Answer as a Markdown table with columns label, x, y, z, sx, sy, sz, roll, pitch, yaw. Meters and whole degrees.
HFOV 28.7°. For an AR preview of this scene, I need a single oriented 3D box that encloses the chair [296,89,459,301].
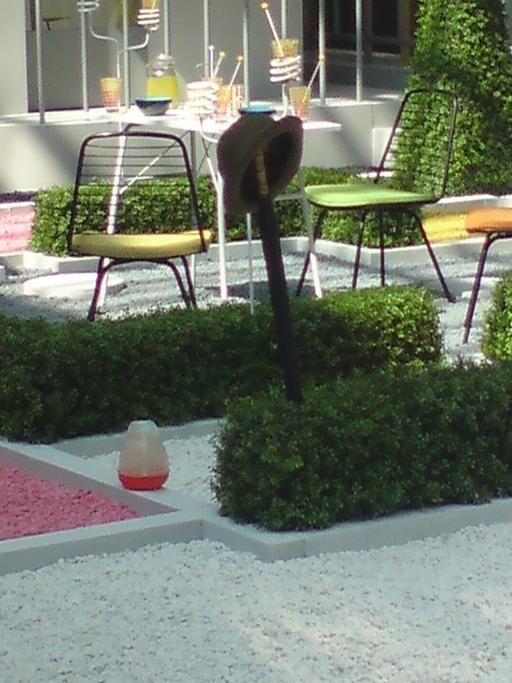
| label | x | y | z | sx | sy | sz | roll | pitch | yaw |
| --- | --- | --- | --- | --- | --- | --- | --- | --- | --- |
| chair | 0.705 | -0.824 | 5.766 | 0.830 | 1.230 | 0.818 | -13 | 19 | -34 |

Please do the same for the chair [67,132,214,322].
| label | x | y | z | sx | sy | sz | roll | pitch | yaw |
| --- | --- | --- | --- | --- | --- | --- | --- | --- | --- |
| chair | -0.682 | -0.679 | 5.939 | 0.867 | 1.052 | 0.879 | 4 | 10 | 34 |

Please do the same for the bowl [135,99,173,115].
| label | x | y | z | sx | sy | sz | roll | pitch | yaw |
| --- | --- | --- | --- | --- | --- | --- | --- | --- | --- |
| bowl | -0.587 | -1.338 | 5.701 | 0.119 | 0.055 | 0.122 | 0 | 15 | 0 |

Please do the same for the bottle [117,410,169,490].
| label | x | y | z | sx | sy | sz | roll | pitch | yaw |
| --- | --- | --- | --- | --- | --- | --- | --- | --- | --- |
| bottle | -0.343 | 0.320 | 3.080 | 0.218 | 0.295 | 0.187 | -1 | 3 | -9 |
